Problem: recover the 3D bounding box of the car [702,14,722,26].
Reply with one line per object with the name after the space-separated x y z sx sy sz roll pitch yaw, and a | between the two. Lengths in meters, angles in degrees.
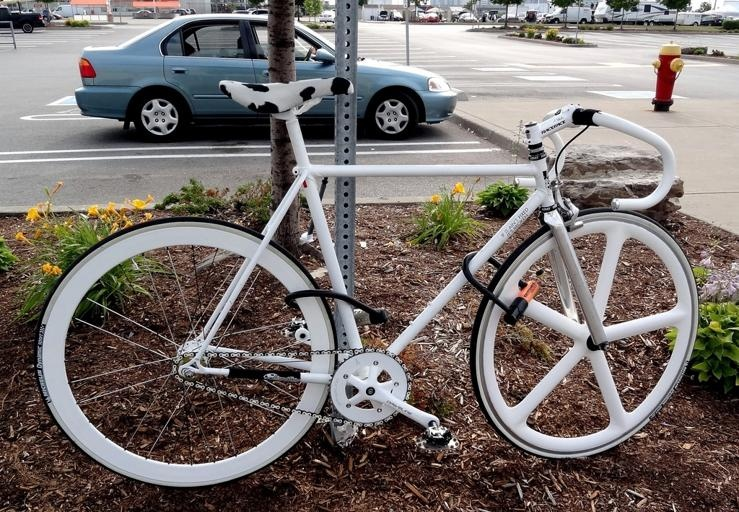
31.030 -21.526 56.858 2.169 0.946 1.012 -1 18 -1 | car
